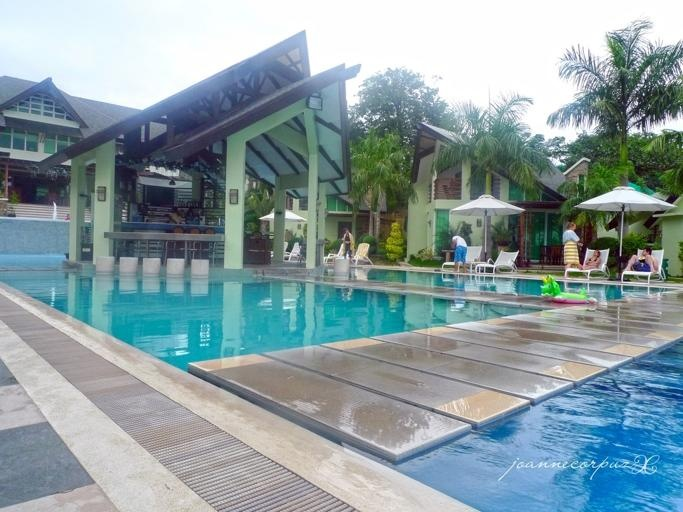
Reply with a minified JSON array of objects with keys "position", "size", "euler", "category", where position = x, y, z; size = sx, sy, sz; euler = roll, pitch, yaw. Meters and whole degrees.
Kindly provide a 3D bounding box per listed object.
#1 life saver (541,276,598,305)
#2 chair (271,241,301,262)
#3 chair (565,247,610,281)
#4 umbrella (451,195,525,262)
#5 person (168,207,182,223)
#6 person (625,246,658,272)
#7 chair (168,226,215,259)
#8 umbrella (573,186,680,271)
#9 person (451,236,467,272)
[{"position":[4.864,0.856,10.091],"size":[0.766,0.488,1.064],"euler":[6,2,-41],"category":"life saver"},{"position":[-3.634,-0.305,28.917],"size":[2.071,1.507,1.253],"euler":[1,-2,-10],"category":"chair"},{"position":[9.675,0.335,18.164],"size":[2.034,1.289,1.121],"euler":[-4,0,-34],"category":"chair"},{"position":[7.078,-1.481,22.416],"size":[2.496,2.833,5.892],"euler":[0,-1,21],"category":"umbrella"},{"position":[-7.856,-1.923,21.707],"size":[0.382,0.700,0.970],"euler":[1,-1,-43],"category":"person"},{"position":[11.058,0.107,17.028],"size":[0.484,0.626,0.808],"euler":[17,-11,-26],"category":"person"},{"position":[-5.752,-0.555,17.778],"size":[1.293,0.953,0.735],"euler":[1,3,21],"category":"chair"},{"position":[9.913,-1.278,16.458],"size":[2.248,2.607,2.357],"euler":[1,-1,-5],"category":"umbrella"},{"position":[5.393,-0.137,21.048],"size":[0.654,1.652,3.654],"euler":[0,-1,15],"category":"person"}]
